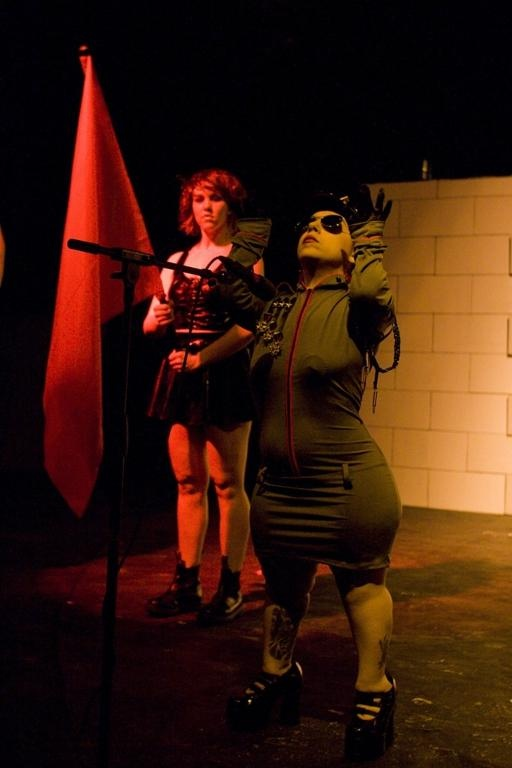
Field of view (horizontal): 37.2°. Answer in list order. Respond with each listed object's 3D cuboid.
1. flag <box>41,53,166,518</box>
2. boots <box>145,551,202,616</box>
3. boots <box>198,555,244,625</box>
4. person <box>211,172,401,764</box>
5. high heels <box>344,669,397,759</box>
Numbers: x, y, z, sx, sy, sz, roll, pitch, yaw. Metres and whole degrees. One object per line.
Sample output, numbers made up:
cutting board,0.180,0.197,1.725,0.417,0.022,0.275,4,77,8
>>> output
flag,-0.537,-0.295,2.684,0.386,1.549,0.442,2,0,-34
boots,-0.279,0.702,2.641,0.211,0.168,0.096,1,0,-33
boots,-0.118,0.695,2.584,0.115,0.208,0.251,3,-3,24
person,0.155,0.153,1.720,0.373,1.224,0.315,2,0,24
high heels,0.232,0.692,1.541,0.064,0.065,0.183,-3,-7,16
